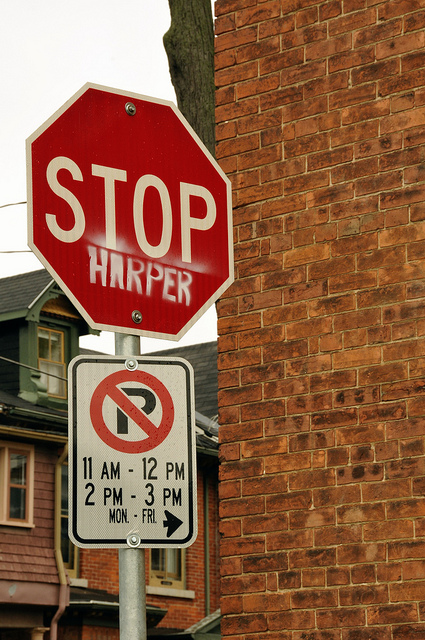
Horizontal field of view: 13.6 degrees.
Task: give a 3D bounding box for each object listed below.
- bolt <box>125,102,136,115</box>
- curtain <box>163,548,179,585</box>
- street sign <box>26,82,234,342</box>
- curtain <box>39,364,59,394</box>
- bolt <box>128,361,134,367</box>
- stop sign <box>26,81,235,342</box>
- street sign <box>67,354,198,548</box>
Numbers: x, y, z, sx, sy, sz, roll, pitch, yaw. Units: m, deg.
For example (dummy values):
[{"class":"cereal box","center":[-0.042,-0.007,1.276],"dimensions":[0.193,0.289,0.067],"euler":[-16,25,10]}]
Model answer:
[{"class":"bolt","center":[-0.294,-0.763,6.402],"dimensions":[0.015,0.044,0.037],"euler":[-8,-3,42]},{"class":"curtain","center":[-0.554,3.292,24.225],"dimensions":[0.211,0.461,0.737],"euler":[-3,-10,0]},{"class":"street sign","center":[-0.275,-0.392,6.290],"dimensions":[0.843,0.917,0.124],"euler":[3,-10,-35]},{"class":"curtain","center":[-2.082,0.693,22.527],"dimensions":[0.012,0.337,0.285],"euler":[-9,-15,22]},{"class":"bolt","center":[-0.277,0.139,6.066],"dimensions":[0.013,0.017,0.003],"euler":[2,-6,-21]},{"class":"stop sign","center":[-0.262,-0.398,6.382],"dimensions":[1.038,1.228,0.091],"euler":[15,-28,-39]},{"class":"street sign","center":[-0.280,0.446,6.017],"dimensions":[0.525,0.963,0.064],"euler":[5,-20,-18]}]
